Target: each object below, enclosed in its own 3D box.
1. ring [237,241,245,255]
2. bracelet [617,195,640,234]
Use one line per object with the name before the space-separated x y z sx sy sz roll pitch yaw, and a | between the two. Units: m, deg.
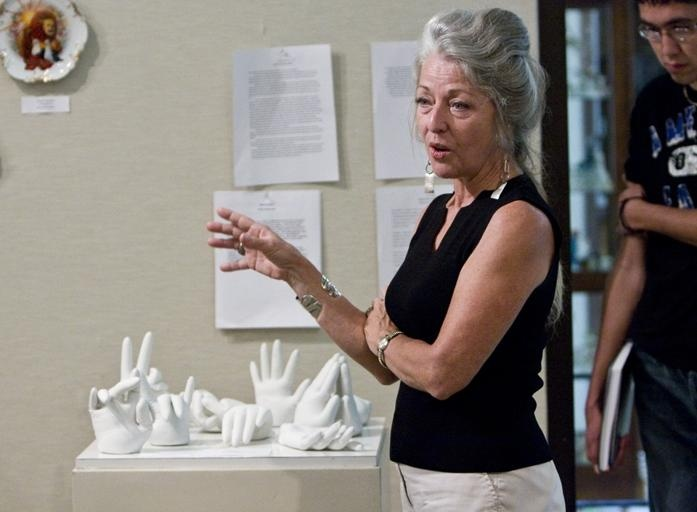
ring | -0.365 -0.026 5.372 0.030 0.037 0.035 -3 -15 1
bracelet | 1.003 -0.152 5.751 0.030 0.109 0.118 1 19 28
